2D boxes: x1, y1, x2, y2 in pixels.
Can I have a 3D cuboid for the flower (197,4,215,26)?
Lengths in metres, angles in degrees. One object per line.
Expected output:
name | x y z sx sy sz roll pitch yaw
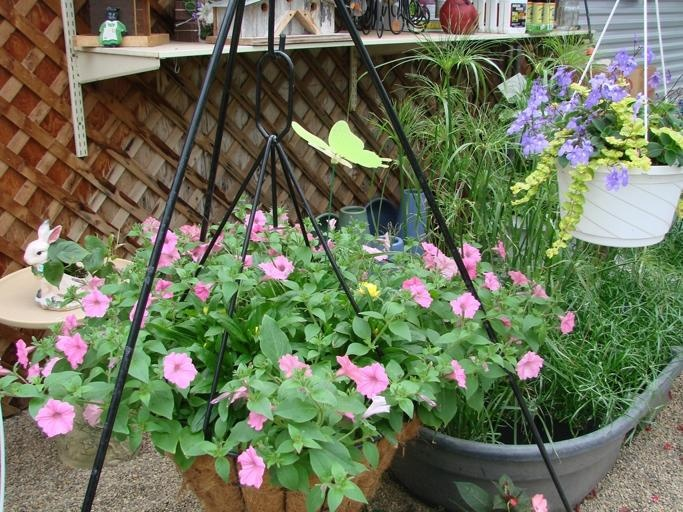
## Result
flower | -0.549 -0.996 2.062 0.089 0.085 0.047 16 30 24
